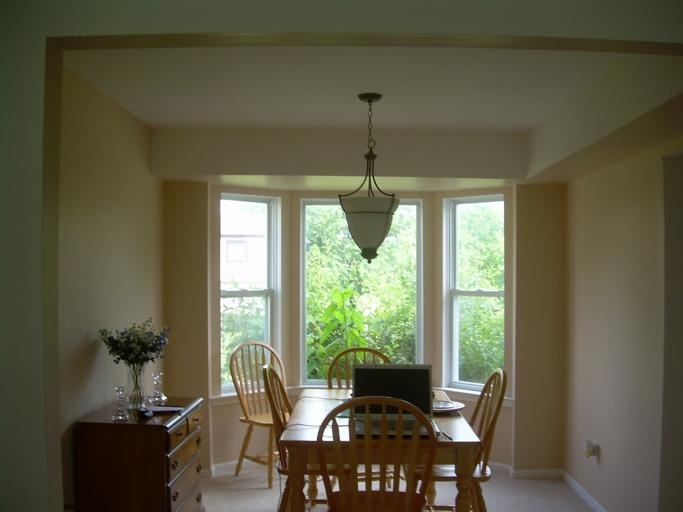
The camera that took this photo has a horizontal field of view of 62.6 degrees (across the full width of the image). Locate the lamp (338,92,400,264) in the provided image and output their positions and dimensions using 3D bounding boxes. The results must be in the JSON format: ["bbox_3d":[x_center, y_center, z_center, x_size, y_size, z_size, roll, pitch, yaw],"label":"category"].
[{"bbox_3d":[0.146,-0.419,2.950,0.298,0.843,0.311,1,0,-36],"label":"lamp"}]

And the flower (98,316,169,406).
[{"bbox_3d":[-1.171,0.605,3.179,0.308,0.402,0.277,3,-7,-12],"label":"flower"}]

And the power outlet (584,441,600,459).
[{"bbox_3d":[1.643,1.264,3.671,0.104,0.117,0.052,3,-8,-5],"label":"power outlet"}]

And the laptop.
[{"bbox_3d":[0.295,0.889,3.219,0.454,0.326,0.381,-2,-47,7],"label":"laptop"}]
